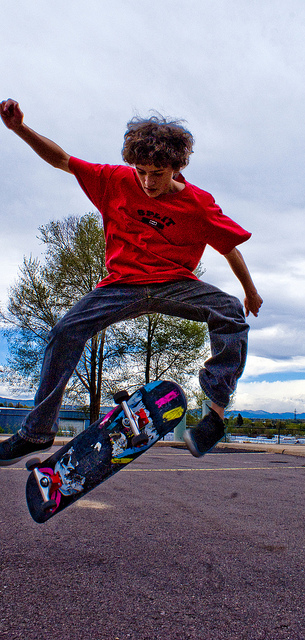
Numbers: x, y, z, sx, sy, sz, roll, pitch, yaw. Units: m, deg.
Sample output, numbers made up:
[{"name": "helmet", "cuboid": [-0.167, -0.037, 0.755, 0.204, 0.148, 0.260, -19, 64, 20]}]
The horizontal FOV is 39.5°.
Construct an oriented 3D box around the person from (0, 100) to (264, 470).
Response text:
[{"name": "person", "cuboid": [-0.075, -0.154, 2.261, 1.286, 1.744, 0.840, -1, -12, 11]}]
